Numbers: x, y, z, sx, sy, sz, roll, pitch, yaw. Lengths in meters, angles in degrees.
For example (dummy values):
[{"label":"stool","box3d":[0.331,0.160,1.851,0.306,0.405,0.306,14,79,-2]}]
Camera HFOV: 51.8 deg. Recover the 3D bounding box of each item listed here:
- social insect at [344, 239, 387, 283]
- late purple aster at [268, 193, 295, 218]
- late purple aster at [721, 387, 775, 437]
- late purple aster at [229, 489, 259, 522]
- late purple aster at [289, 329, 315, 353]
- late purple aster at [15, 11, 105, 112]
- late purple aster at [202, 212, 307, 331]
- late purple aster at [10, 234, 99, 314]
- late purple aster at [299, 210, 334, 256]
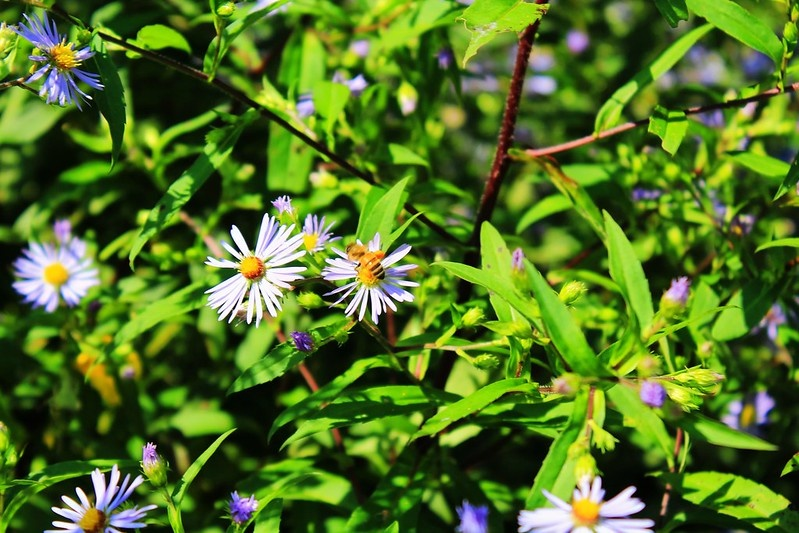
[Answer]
[{"label":"social insect","box3d":[-0.081,-0.004,2.026,0.093,0.048,0.088,-2,59,-1]},{"label":"late purple aster","box3d":[-0.301,-0.147,2.117,0.058,0.057,0.067,-9,52,-23]},{"label":"late purple aster","box3d":[1.089,0.453,2.581,0.146,0.167,0.038,10,9,-15]},{"label":"late purple aster","box3d":[-0.402,0.610,2.118,0.068,0.065,0.076,26,24,-33]},{"label":"late purple aster","box3d":[-0.236,0.181,2.013,0.046,0.056,0.019,-52,26,-11]},{"label":"late purple aster","box3d":[-0.846,-0.550,2.135,0.209,0.240,0.114,20,40,11]},{"label":"late purple aster","box3d":[-0.364,0.018,2.063,0.291,0.078,0.302,-37,33,-21]},{"label":"late purple aster","box3d":[-0.988,0.029,2.375,0.224,0.095,0.276,-9,24,-16]},{"label":"late purple aster","box3d":[-0.205,-0.074,2.128,0.034,0.092,0.104,-14,75,32]}]
